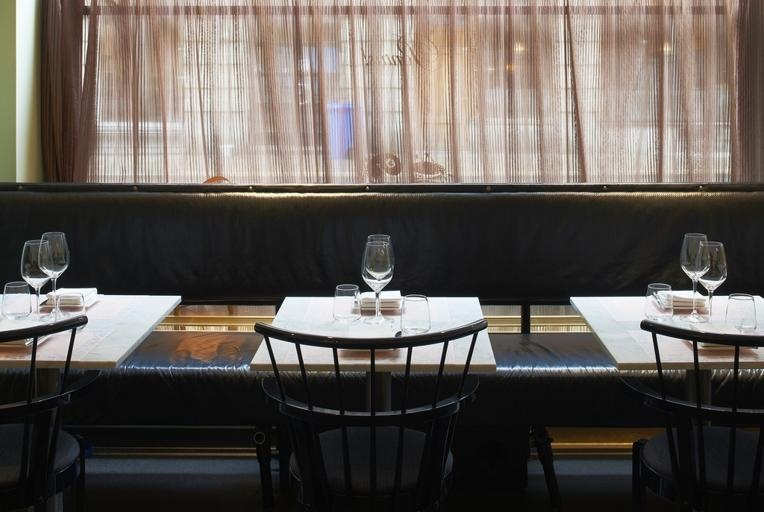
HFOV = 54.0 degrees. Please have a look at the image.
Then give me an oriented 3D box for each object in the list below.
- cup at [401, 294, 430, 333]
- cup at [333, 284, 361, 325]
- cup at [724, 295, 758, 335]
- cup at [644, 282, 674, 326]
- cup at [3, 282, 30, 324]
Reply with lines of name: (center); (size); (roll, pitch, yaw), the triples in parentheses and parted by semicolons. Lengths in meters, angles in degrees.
cup: (0.133, 0.232, 3.042); (0.128, 0.155, 0.139); (0, -1, 0)
cup: (-0.158, 0.213, 3.217); (0.131, 0.167, 0.144); (0, -1, -6)
cup: (1.469, 0.239, 3.091); (0.130, 0.206, 0.141); (0, 0, 0)
cup: (1.233, 0.204, 3.314); (0.131, 0.215, 0.143); (0, -4, 0)
cup: (-1.574, 0.215, 3.265); (0.131, 0.203, 0.137); (1, -2, 0)
